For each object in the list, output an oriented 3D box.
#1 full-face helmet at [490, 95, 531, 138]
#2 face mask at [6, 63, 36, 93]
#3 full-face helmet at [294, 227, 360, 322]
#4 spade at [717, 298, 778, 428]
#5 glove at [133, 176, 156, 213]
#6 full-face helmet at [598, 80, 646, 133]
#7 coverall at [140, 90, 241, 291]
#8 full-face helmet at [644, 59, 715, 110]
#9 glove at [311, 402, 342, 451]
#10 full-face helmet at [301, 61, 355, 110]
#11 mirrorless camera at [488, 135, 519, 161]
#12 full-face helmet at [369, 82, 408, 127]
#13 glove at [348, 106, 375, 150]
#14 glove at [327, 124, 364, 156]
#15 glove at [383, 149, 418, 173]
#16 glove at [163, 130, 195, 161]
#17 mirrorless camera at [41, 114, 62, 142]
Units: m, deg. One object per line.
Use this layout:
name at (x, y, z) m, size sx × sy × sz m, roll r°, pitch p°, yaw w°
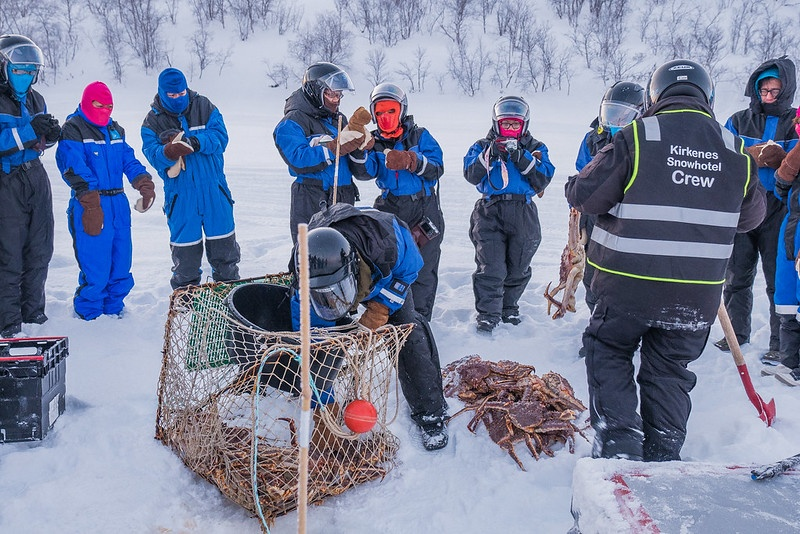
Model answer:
full-face helmet at (1.261, -1.660, 9.761) m, size 0.358 × 0.492 × 0.475 m, roll 1°, pitch -1°, yaw 5°
face mask at (-3.902, -1.941, 9.002) m, size 0.224 × 0.278 × 0.293 m, roll 1°, pitch 48°, yaw -46°
full-face helmet at (-0.632, -0.035, 7.720) m, size 0.521 × 0.744 × 0.735 m, roll -1°, pitch 46°, yaw 10°
spade at (3.570, 1.024, 8.870) m, size 0.178 × 1.207 × 0.388 m, roll -25°, pitch 6°, yaw 2°
glove at (-2.897, -0.814, 9.832) m, size 0.277 × 0.390 × 0.157 m, roll 0°, pitch -8°, yaw -12°
full-face helmet at (2.434, -1.697, 9.356) m, size 0.472 × 0.592 × 0.642 m, roll 16°, pitch 14°, yaw 35°
coverall at (-2.344, -0.846, 9.783) m, size 0.845 × 2.366 × 0.700 m, roll -10°, pitch 9°, yaw -18°
full-face helmet at (2.535, -1.678, 7.746) m, size 0.391 × 0.519 × 0.520 m, roll 3°, pitch -2°, yaw 13°
glove at (-0.664, 1.425, 7.726) m, size 0.261 × 0.452 × 0.293 m, roll -7°, pitch 16°, yaw -24°
full-face helmet at (-0.776, -1.996, 9.451) m, size 0.583 × 0.502 × 0.467 m, roll 17°, pitch 27°, yaw 9°
mirrorless camera at (1.159, -1.304, 9.547) m, size 0.330 × 0.248 × 0.144 m, roll 2°, pitch 15°, yaw 8°
full-face helmet at (-0.165, -1.793, 9.490) m, size 0.355 × 0.365 × 0.409 m, roll -8°, pitch -3°, yaw 25°
glove at (-0.422, -1.495, 9.244) m, size 0.296 × 0.414 × 0.188 m, roll -16°, pitch 40°, yaw -36°
glove at (-0.559, -1.318, 9.129) m, size 0.320 × 0.307 × 0.141 m, roll -40°, pitch -13°, yaw -5°
glove at (0.025, -1.140, 9.325) m, size 0.338 × 0.242 × 0.201 m, roll -13°, pitch 19°, yaw -39°
glove at (-2.385, -1.296, 9.359) m, size 0.273 × 0.290 × 0.118 m, roll -19°, pitch -7°, yaw -10°
mirrorless camera at (-3.659, -1.482, 9.194) m, size 0.196 × 0.272 × 0.235 m, roll 7°, pitch 17°, yaw 19°
